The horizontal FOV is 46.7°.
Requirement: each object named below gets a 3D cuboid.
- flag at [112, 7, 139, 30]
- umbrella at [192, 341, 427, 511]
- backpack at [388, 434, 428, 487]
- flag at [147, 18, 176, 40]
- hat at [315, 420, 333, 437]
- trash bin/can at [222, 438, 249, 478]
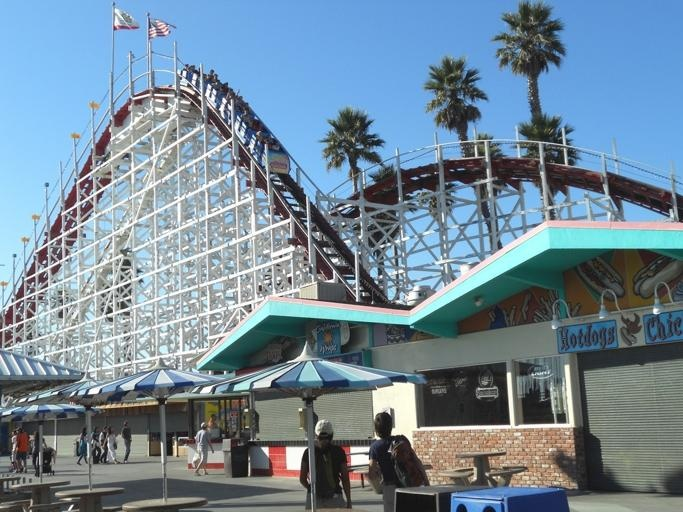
[{"bbox_3d":[-9.453,-10.239,34.425,1.273,0.949,0.446,0,4,26],"label":"flag"},{"bbox_3d":[-0.475,2.140,11.952,2.636,1.944,2.453,-2,-6,0],"label":"umbrella"},{"bbox_3d":[0.808,2.601,9.975,0.461,0.613,0.394,-1,4,5],"label":"backpack"},{"bbox_3d":[-7.335,-9.072,31.843,0.860,0.793,0.760,-3,4,-17],"label":"flag"},{"bbox_3d":[-0.235,2.304,10.559,0.209,0.257,0.254,-2,4,-8],"label":"hat"},{"bbox_3d":[-2.765,5.283,20.664,0.861,1.287,0.840,2,-18,-15],"label":"trash bin/can"}]
